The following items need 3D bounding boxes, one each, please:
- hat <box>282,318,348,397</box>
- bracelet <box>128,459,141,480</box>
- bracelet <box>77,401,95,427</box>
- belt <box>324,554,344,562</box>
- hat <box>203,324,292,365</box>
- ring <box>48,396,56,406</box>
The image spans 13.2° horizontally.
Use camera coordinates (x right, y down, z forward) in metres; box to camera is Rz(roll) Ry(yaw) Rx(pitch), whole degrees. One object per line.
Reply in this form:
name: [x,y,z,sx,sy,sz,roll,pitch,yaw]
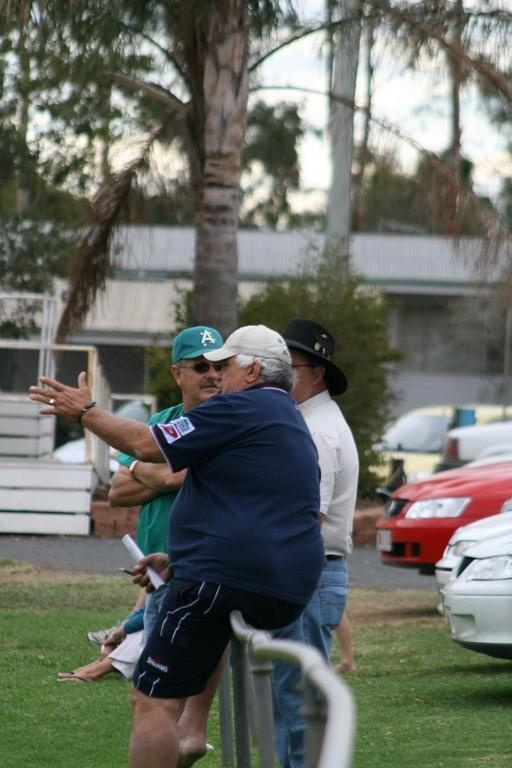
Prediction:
hat: [0.403,-0.200,13.735,0.428,0.204,0.377,39,-8,-16]
bracelet: [-0.722,0.505,13.251,0.052,0.106,0.106,-4,-46,19]
bracelet: [-0.976,0.149,12.708,0.031,0.133,0.091,29,-9,-11]
belt: [0.495,1.050,13.500,0.075,0.035,0.066,15,-4,12]
hat: [-0.012,-0.221,12.567,0.334,0.226,0.258,6,-3,1]
ring: [-1.175,0.097,12.777,0.030,0.060,0.049,1,-2,-1]
